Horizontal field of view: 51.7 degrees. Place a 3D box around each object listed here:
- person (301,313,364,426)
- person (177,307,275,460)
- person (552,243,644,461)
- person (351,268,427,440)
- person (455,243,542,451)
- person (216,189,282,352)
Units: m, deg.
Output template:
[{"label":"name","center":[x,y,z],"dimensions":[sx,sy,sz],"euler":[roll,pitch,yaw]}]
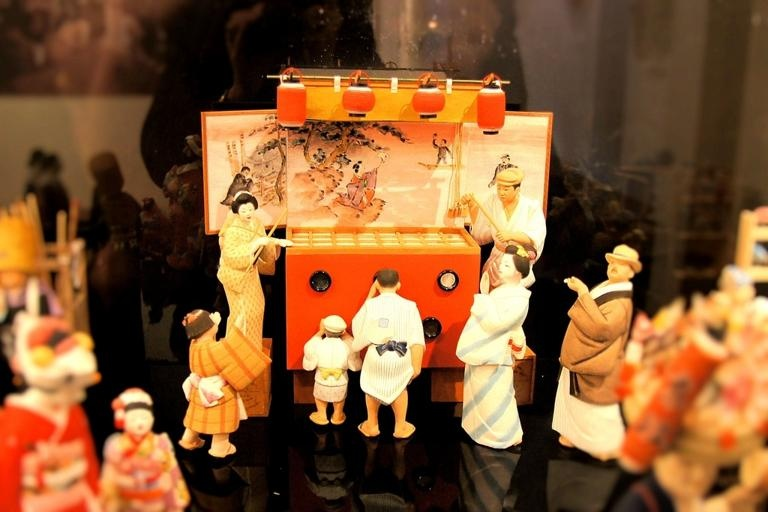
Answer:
[{"label":"person","center":[-0.450,0.952,6.668],"dimensions":[0.450,0.920,0.301],"euler":[0,17,-10]},{"label":"person","center":[-1.290,1.016,6.268],"dimensions":[0.690,1.198,0.331],"euler":[-1,10,-14]},{"label":"person","center":[1.674,0.762,6.316],"dimensions":[0.593,1.706,0.281],"euler":[4,10,13]},{"label":"person","center":[0.016,0.809,6.450],"dimensions":[0.573,1.413,0.283],"euler":[1,9,-3]},{"label":"person","center":[0.870,0.736,6.402],"dimensions":[0.555,1.664,0.334],"euler":[3,10,10]},{"label":"person","center":[-1.124,0.172,6.833],"dimensions":[0.585,1.445,0.515],"euler":[1,27,-6]}]
